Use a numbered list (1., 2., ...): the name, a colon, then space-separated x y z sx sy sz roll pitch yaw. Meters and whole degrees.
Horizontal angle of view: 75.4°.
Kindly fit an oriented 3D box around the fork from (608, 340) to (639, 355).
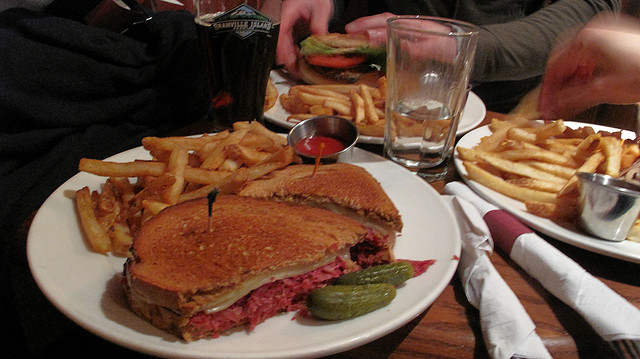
1. fork: 1.515 0.839 2.068 0.114 0.071 0.054 8 44 1
